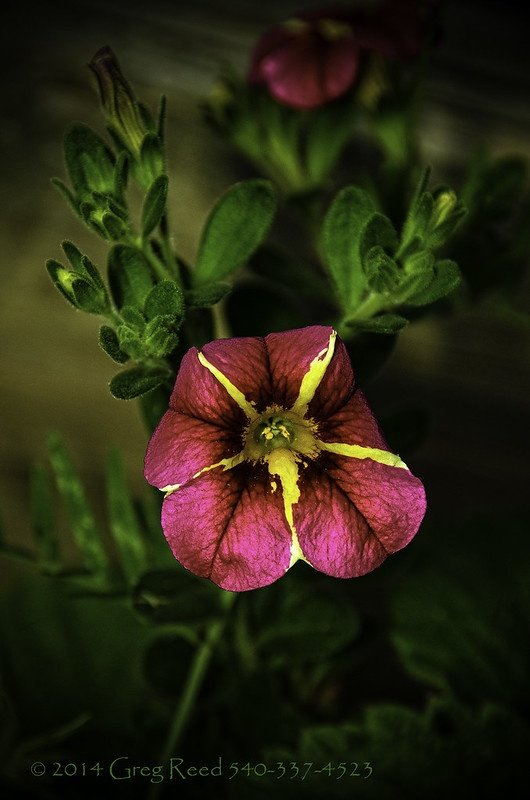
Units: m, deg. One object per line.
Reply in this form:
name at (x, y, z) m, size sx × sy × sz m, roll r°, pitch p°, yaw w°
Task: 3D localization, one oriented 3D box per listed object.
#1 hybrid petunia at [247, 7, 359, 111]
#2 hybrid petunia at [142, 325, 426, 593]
hybrid petunia at (0.045, -0.366, 0.793) m, size 0.104 × 0.080 × 0.089 m, roll -10°, pitch 50°, yaw -14°
hybrid petunia at (0.005, 0.063, 0.751) m, size 0.115 × 0.305 × 0.290 m, roll 25°, pitch 60°, yaw -45°
